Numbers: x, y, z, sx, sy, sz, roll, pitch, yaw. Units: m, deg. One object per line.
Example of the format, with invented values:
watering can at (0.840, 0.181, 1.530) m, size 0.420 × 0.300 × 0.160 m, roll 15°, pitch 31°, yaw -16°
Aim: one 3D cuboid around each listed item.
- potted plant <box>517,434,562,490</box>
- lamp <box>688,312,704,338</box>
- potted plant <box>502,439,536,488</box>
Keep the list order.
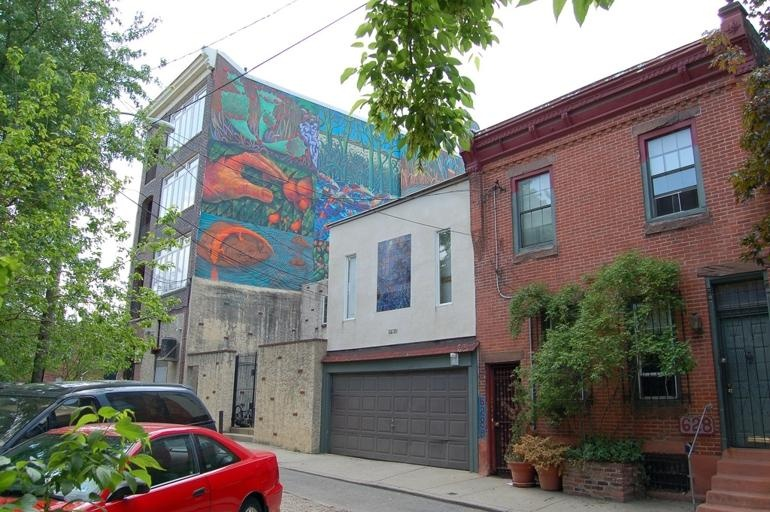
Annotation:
potted plant at (4.153, 5.432, 14.534) m, size 1.357 × 1.284 × 1.159 m, roll 3°, pitch -24°, yaw -5°
lamp at (7.360, 1.604, 13.210) m, size 0.234 × 0.559 × 0.237 m, roll 0°, pitch -8°, yaw -12°
potted plant at (3.657, 5.532, 14.845) m, size 0.920 × 1.060 × 0.849 m, roll 8°, pitch -15°, yaw -27°
